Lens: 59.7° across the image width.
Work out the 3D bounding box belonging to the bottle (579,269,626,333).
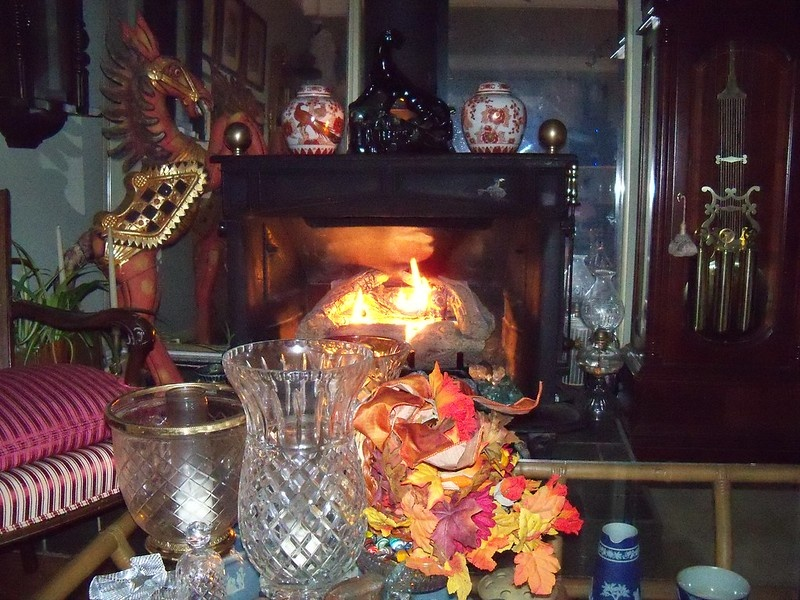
[{"bbox_3d":[0.735,0.016,2.552,0.158,0.250,0.149,-4,9,1],"label":"bottle"}]

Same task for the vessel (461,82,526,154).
[{"bbox_3d":[0.323,-0.625,2.447,0.205,0.262,0.214,0,8,-6],"label":"vessel"}]

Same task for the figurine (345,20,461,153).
[{"bbox_3d":[0.005,-0.702,2.383,0.343,0.414,0.248,0,24,-5],"label":"figurine"}]

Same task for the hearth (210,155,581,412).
[{"bbox_3d":[0.024,-0.039,2.561,1.103,1.110,0.459,1,21,10],"label":"hearth"}]

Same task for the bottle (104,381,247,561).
[{"bbox_3d":[-0.345,0.302,1.128,0.214,0.246,0.214,7,-9,-33],"label":"bottle"}]

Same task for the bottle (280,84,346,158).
[{"bbox_3d":[-0.298,-0.610,2.412,0.230,0.291,0.240,0,1,0],"label":"bottle"}]

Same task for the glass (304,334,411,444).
[{"bbox_3d":[-0.059,0.115,1.047,0.125,0.146,0.135,10,14,37],"label":"glass"}]
